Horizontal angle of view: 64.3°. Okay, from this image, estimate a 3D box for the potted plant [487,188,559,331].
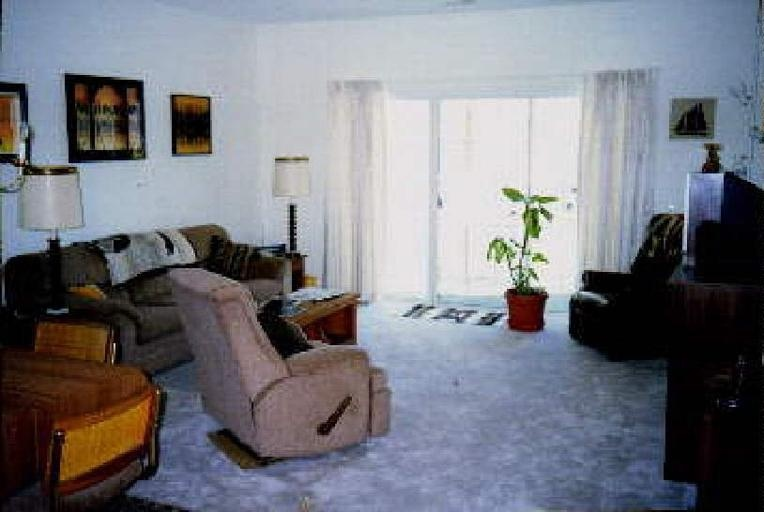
[{"bbox_3d":[1.705,-0.094,7.444,0.882,1.524,2.164,2,10,16],"label":"potted plant"}]

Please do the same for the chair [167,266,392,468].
[{"bbox_3d":[-0.716,0.625,4.164,1.197,1.104,1.217,-5,7,-29],"label":"chair"}]

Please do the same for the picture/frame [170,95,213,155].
[{"bbox_3d":[-2.227,-1.509,7.085,0.065,0.732,0.724,8,13,22],"label":"picture/frame"}]

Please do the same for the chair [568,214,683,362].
[{"bbox_3d":[2.316,0.325,6.141,0.990,1.691,1.297,-2,8,37],"label":"chair"}]

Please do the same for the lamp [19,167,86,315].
[{"bbox_3d":[-2.521,-0.120,4.621,0.392,1.115,0.383,6,11,34],"label":"lamp"}]

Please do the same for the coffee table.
[{"bbox_3d":[-0.670,0.694,5.704,1.094,0.567,0.535,-3,-1,-3],"label":"coffee table"}]
